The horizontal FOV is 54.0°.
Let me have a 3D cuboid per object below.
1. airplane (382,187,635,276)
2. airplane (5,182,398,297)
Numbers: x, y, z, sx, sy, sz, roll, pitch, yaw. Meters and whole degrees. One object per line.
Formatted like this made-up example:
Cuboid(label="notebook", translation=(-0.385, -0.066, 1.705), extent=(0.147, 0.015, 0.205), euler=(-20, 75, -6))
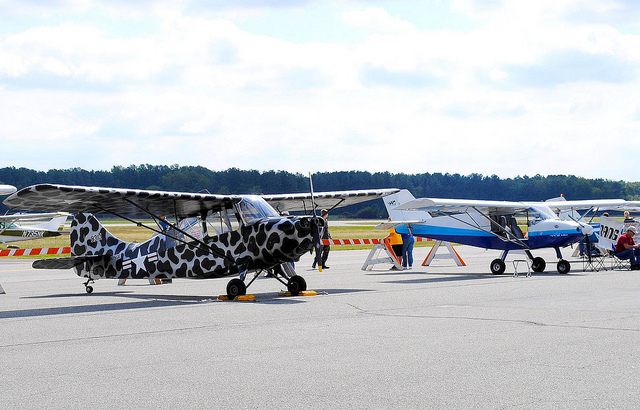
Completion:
Cuboid(label="airplane", translation=(7.600, 0.943, 25.993), extent=(9.297, 3.307, 10.734), euler=(-1, -2, 3))
Cuboid(label="airplane", translation=(-4.003, 0.991, 16.092), extent=(8.333, 2.763, 5.492), euler=(-1, -2, 10))
